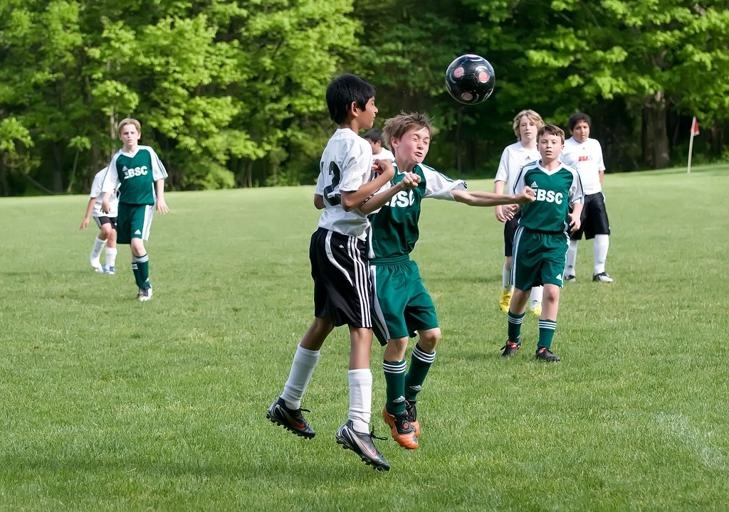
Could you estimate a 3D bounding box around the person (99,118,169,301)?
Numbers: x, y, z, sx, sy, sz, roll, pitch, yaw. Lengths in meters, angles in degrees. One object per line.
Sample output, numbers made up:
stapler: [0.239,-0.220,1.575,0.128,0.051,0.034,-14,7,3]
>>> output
person: [-3.893,-0.840,18.706,1.038,2.960,1.492,0,6,-13]

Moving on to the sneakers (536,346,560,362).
sneakers: [2.536,1.348,15.364,0.323,0.154,0.156,4,6,34]

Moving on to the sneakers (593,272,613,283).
sneakers: [4.081,0.364,18.959,0.134,0.146,0.349,-1,-2,-26]

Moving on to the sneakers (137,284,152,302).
sneakers: [-3.637,0.601,18.292,0.243,0.222,0.428,-1,6,-14]

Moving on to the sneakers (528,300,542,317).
sneakers: [2.659,0.805,17.231,0.163,0.224,0.214,13,2,-43]

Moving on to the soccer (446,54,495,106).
soccer: [1.498,-2.434,15.531,0.677,0.713,0.384,-2,2,7]

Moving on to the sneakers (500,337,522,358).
sneakers: [2.060,1.287,15.583,0.132,0.172,0.375,3,17,26]
